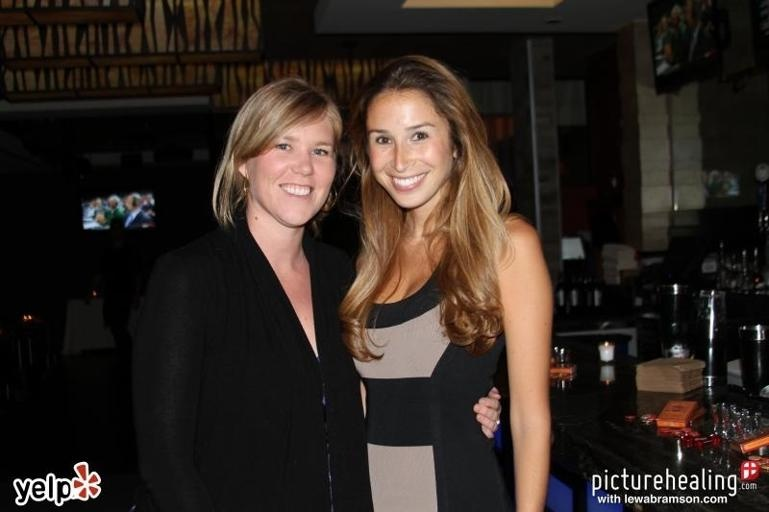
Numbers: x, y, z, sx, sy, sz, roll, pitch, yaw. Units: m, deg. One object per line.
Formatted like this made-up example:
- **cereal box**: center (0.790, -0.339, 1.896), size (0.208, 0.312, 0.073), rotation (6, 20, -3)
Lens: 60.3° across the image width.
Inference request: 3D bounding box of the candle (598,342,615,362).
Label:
- **candle**: center (1.792, 0.779, 5.416), size (0.157, 0.177, 0.160), rotation (-4, -5, 36)

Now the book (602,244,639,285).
- **book**: center (2.518, 0.095, 7.017), size (0.249, 0.486, 0.364), rotation (-7, 8, -31)

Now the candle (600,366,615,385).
- **candle**: center (1.682, 0.894, 4.993), size (0.104, 0.115, 0.099), rotation (6, -11, -37)

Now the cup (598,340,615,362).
- **cup**: center (1.790, 0.779, 5.415), size (0.169, 0.189, 0.173), rotation (-1, -2, 0)

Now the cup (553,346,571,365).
- **cup**: center (1.401, 0.791, 5.249), size (0.156, 0.173, 0.154), rotation (0, -8, 0)

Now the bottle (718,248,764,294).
- **bottle**: center (3.067, 0.095, 5.699), size (0.291, 0.366, 0.553), rotation (7, 16, 20)
